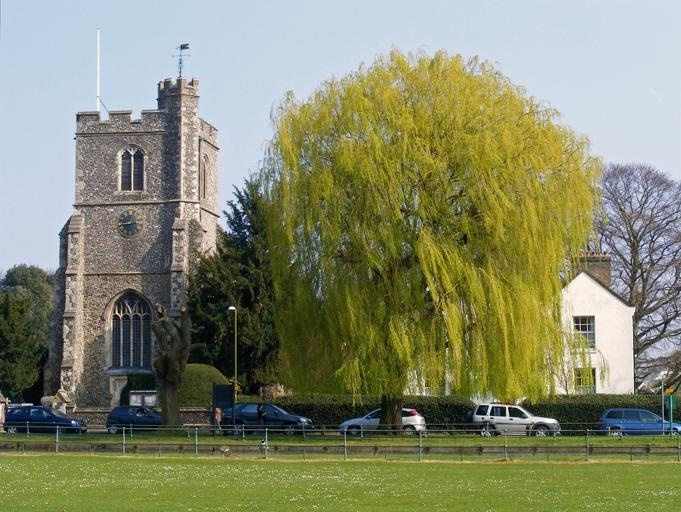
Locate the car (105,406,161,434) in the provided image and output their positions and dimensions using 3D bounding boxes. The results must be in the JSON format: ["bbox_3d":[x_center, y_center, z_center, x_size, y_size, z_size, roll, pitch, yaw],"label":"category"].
[{"bbox_3d":[-10.564,8.559,74.384,3.031,1.350,1.771,-3,-5,-1],"label":"car"}]

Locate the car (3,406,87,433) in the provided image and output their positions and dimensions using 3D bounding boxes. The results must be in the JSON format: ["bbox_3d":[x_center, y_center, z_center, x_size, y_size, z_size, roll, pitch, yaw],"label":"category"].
[{"bbox_3d":[-15.061,8.359,74.909,3.912,1.266,7.755,4,-1,-13],"label":"car"}]

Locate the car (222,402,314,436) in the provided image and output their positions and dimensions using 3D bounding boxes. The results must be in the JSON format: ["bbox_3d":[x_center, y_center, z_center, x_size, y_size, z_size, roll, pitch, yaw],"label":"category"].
[{"bbox_3d":[-3.670,8.102,71.716,4.260,1.631,1.826,-1,-4,3],"label":"car"}]

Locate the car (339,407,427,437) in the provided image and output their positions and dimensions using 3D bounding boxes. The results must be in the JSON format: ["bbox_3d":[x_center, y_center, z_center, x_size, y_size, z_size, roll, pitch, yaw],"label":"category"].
[{"bbox_3d":[1.849,7.894,70.586,3.321,1.173,1.827,1,-6,4],"label":"car"}]

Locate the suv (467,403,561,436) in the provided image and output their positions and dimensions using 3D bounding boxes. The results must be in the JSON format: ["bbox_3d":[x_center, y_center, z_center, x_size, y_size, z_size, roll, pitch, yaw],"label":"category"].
[{"bbox_3d":[8.267,7.792,70.048,3.807,1.707,1.804,-1,-6,5],"label":"suv"}]

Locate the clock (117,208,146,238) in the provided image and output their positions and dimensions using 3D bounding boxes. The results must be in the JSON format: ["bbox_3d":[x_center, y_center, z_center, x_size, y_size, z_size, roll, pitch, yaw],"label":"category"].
[{"bbox_3d":[-13.060,-1.947,91.731,1.719,1.797,0.247,-1,-5,4],"label":"clock"}]
